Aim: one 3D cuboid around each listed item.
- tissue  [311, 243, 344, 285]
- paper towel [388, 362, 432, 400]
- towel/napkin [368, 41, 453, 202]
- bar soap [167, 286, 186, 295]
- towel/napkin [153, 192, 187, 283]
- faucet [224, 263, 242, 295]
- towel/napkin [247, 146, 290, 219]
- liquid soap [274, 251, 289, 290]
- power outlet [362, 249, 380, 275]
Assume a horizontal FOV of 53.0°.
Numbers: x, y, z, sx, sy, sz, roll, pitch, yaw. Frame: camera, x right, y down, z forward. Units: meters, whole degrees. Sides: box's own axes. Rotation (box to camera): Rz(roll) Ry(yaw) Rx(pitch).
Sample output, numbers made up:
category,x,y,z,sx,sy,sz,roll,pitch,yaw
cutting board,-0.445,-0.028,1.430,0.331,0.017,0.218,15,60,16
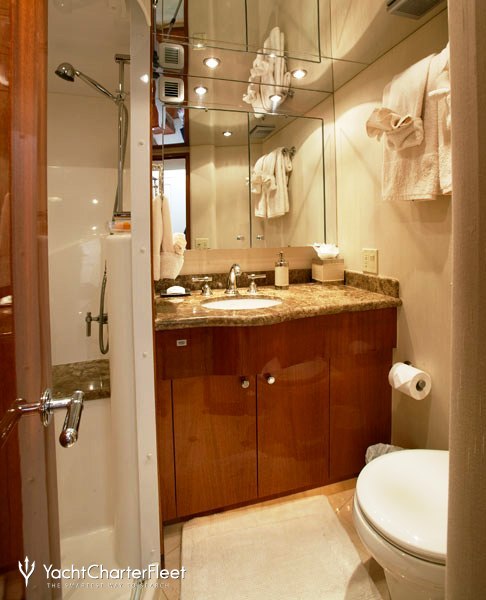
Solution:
category,x,y,z,sx,sy,sz,roll,pitch,yaw
tissue ,0.383,-0.184,2.330,0.165,0.272,0.147,0,7,-8
paper towel,0.601,0.270,1.747,0.106,0.137,0.136,-27,11,-21
towel/napkin,0.551,-0.551,1.570,0.317,0.461,0.245,8,13,44
bar soap,-0.284,-0.038,2.052,0.076,0.033,0.047,-4,11,-15
towel/napkin,-0.248,-0.189,1.504,0.063,0.270,0.172,4,8,16
faucet,-0.044,-0.093,2.133,0.072,0.112,0.244,-1,11,-1
towel/napkin,0.107,-0.542,2.226,0.220,0.425,0.110,-2,8,-11
liquid soap,0.179,-0.143,2.268,0.070,0.150,0.177,0,10,6
power outlet,0.536,-0.160,2.035,0.025,0.111,0.096,0,1,-8
